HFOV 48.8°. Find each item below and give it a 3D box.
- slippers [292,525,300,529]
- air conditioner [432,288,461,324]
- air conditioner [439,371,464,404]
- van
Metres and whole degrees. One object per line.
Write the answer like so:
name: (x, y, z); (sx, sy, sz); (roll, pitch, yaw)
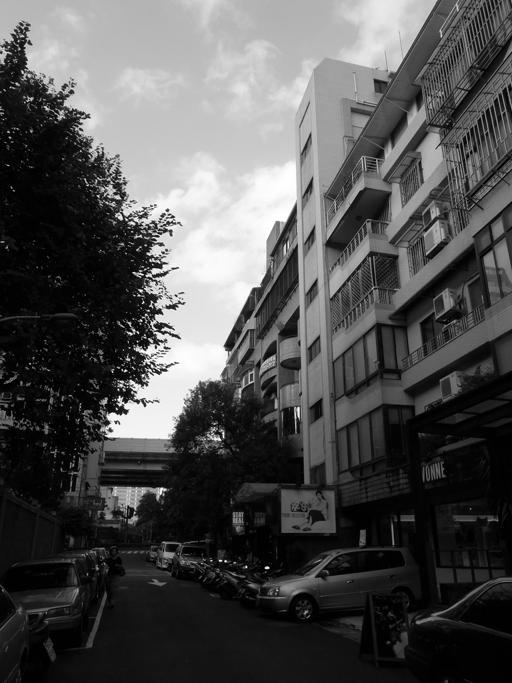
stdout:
slippers: (1.344, 6.143, 18.599); (0.285, 0.098, 0.117); (20, -33, -26)
air conditioner: (6.079, -1.113, 17.841); (0.586, 0.769, 0.859); (7, -20, -13)
air conditioner: (5.374, 1.254, 15.462); (0.459, 0.869, 0.958); (11, 3, 1)
van: (1.774, 5.717, 12.866); (3.624, 1.774, 2.175); (5, -39, -3)
